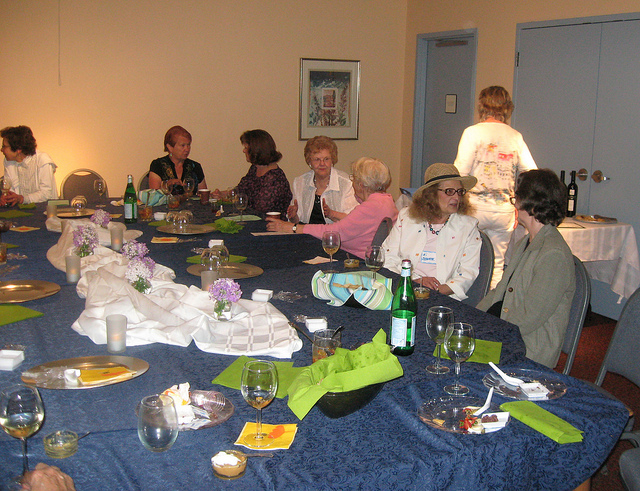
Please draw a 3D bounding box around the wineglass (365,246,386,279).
[{"bbox_3d":[0.255,0.124,2.489,0.105,0.240,0.100,1,14,11],"label":"wineglass"}]

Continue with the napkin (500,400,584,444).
[{"bbox_3d":[0.618,0.487,1.477,0.102,0.023,0.133,-2,16,-33],"label":"napkin"}]

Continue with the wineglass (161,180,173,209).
[{"bbox_3d":[-1.252,-0.416,4.337,0.095,0.206,0.308,-5,19,-12],"label":"wineglass"}]

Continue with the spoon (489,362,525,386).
[{"bbox_3d":[0.593,0.401,1.665,0.077,0.013,0.053,32,21,29],"label":"spoon"}]

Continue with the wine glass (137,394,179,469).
[{"bbox_3d":[-0.409,0.446,1.343,0.095,0.135,0.176,-7,19,-17],"label":"wine glass"}]

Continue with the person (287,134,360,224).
[{"bbox_3d":[0.017,-0.479,4.295,0.611,0.756,0.578,10,23,30],"label":"person"}]

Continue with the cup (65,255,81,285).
[{"bbox_3d":[-1.159,0.126,2.464,0.088,0.143,0.084,0,6,0],"label":"cup"}]

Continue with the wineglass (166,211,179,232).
[{"bbox_3d":[-1.011,-0.165,3.610,0.130,0.132,0.139,0,3,-7],"label":"wineglass"}]

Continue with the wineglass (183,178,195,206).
[{"bbox_3d":[-1.123,-0.465,4.539,0.080,0.204,0.367,-5,19,-12],"label":"wineglass"}]

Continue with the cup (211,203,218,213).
[{"bbox_3d":[-0.823,-0.293,4.162,0.069,0.077,0.068,0,0,0],"label":"cup"}]

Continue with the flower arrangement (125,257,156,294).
[{"bbox_3d":[-0.699,0.112,2.066,0.125,0.124,0.120,-1,13,-9],"label":"flower arrangement"}]

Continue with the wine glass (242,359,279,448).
[{"bbox_3d":[-0.160,0.427,1.405,0.110,0.229,0.108,1,25,1],"label":"wine glass"}]

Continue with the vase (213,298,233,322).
[{"bbox_3d":[-0.356,0.233,2.008,0.082,0.085,0.081,-6,20,-21],"label":"vase"}]

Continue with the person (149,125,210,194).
[{"bbox_3d":[-1.356,-0.721,5.068,0.559,0.838,0.457,5,-7,-36],"label":"person"}]

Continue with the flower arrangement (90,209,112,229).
[{"bbox_3d":[-1.337,-0.163,3.261,0.111,0.121,0.122,-1,21,-8],"label":"flower arrangement"}]

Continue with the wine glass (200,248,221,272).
[{"bbox_3d":[-0.498,0.067,2.337,0.090,0.110,0.092,2,3,19],"label":"wine glass"}]

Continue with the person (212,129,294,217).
[{"bbox_3d":[-0.621,-0.652,4.831,0.697,0.755,0.856,-8,18,-20],"label":"person"}]

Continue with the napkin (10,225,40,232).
[{"bbox_3d":[-1.928,-0.108,3.461,0.149,0.017,0.143,12,22,34],"label":"napkin"}]

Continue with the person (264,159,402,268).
[{"bbox_3d":[0.099,-0.233,3.791,0.935,0.673,0.713,-6,5,2],"label":"person"}]

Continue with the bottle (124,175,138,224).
[{"bbox_3d":[-1.376,-0.355,3.813,0.090,0.353,0.325,-7,19,-17],"label":"bottle"}]

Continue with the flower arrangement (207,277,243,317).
[{"bbox_3d":[-0.355,0.197,1.973,0.130,0.137,0.131,3,4,-15],"label":"flower arrangement"}]

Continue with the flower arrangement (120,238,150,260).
[{"bbox_3d":[-0.838,0.021,2.382,0.117,0.092,0.123,3,12,-11],"label":"flower arrangement"}]

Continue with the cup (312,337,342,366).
[{"bbox_3d":[0.021,0.337,1.709,0.087,0.092,0.082,2,1,0],"label":"cup"}]

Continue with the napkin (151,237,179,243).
[{"bbox_3d":[-0.950,-0.030,3.237,0.156,0.011,0.123,-3,18,-6],"label":"napkin"}]

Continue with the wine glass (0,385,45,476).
[{"bbox_3d":[-0.726,0.451,1.306,0.094,0.176,0.162,-14,22,-34],"label":"wine glass"}]

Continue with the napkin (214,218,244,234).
[{"bbox_3d":[-0.582,-0.140,3.511,0.122,0.040,0.119,-8,16,-40],"label":"napkin"}]

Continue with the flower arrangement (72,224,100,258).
[{"bbox_3d":[-1.162,-0.025,2.633,0.140,0.169,0.144,6,8,15],"label":"flower arrangement"}]

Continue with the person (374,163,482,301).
[{"bbox_3d":[0.653,-0.036,3.079,0.564,0.865,0.511,9,12,21],"label":"person"}]

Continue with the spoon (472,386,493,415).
[{"bbox_3d":[0.466,0.447,1.508,0.027,0.056,0.094,12,23,36],"label":"spoon"}]
